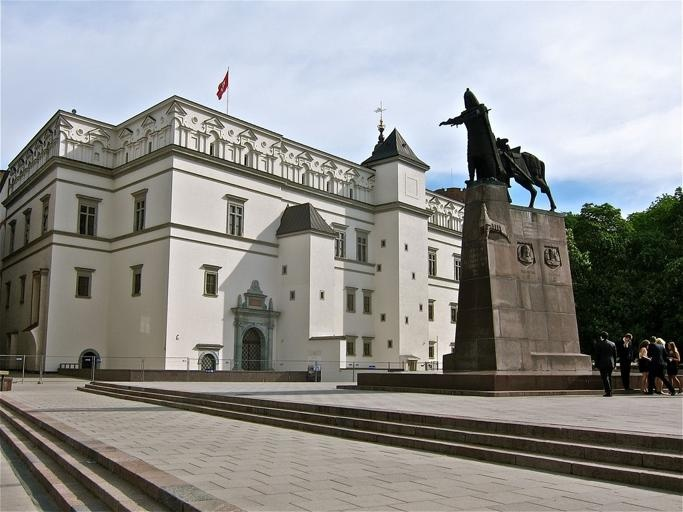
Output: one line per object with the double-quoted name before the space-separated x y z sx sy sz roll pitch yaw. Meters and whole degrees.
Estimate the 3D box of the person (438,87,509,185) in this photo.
"person" 4.709 -3.974 19.455 1.444 3.502 1.026 -5 -13 8
